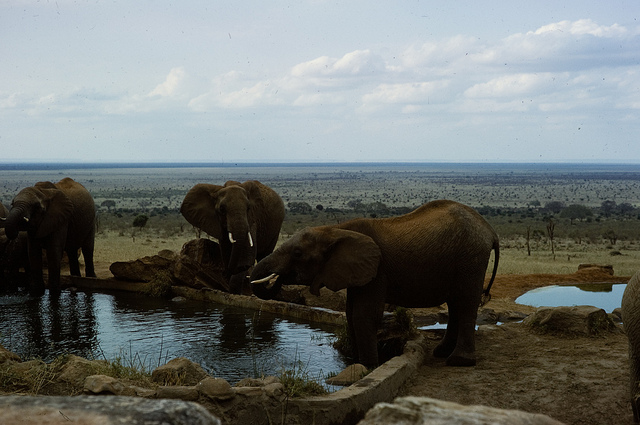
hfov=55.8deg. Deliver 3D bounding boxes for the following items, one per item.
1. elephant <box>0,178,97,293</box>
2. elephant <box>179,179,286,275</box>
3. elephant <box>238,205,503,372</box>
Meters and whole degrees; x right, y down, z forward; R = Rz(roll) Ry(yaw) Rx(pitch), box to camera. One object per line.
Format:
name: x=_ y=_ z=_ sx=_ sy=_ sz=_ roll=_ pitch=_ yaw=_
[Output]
elephant: x=-7.484 y=0.691 z=17.088 sx=1.295 sy=2.944 sz=3.248 roll=0 pitch=10 yaw=0
elephant: x=-2.624 y=0.447 z=16.922 sx=2.220 sy=2.783 sz=4.723 roll=-3 pitch=5 yaw=-8
elephant: x=1.269 y=1.351 z=10.985 sx=3.741 sy=2.917 sz=1.394 roll=2 pitch=10 yaw=9
